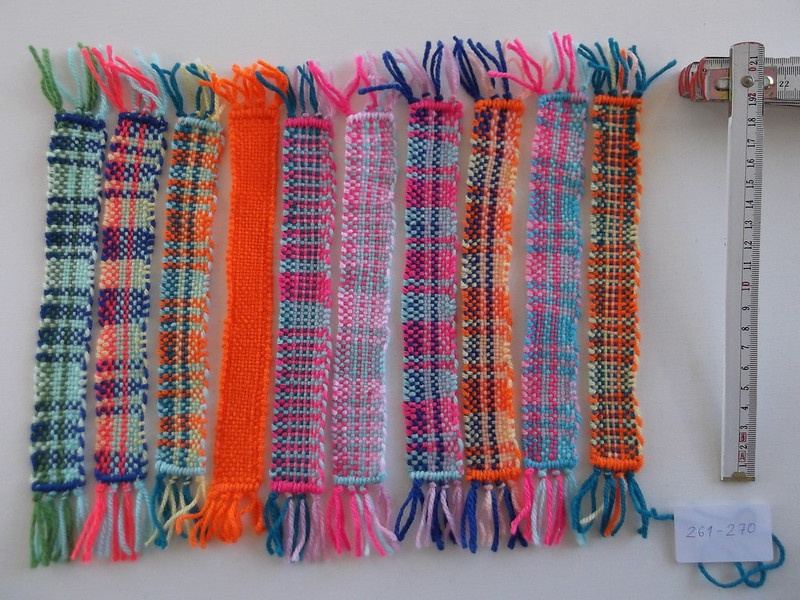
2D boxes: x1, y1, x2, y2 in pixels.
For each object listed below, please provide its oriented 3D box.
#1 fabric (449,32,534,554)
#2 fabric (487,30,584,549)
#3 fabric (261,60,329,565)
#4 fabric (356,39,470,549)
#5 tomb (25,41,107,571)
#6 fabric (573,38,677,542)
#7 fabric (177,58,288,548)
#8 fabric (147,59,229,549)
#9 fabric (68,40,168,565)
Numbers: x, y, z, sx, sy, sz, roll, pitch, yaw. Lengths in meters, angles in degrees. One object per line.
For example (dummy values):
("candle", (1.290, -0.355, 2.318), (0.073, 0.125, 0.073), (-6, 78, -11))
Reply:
("fabric", (0.212, -0.011, 2.700), (0.230, 1.282, 0.254), (0, -3, -1))
("fabric", (0.373, -0.020, 2.830), (0.262, 1.366, 0.237), (0, -2, -1))
("fabric", (-0.229, 0.048, 2.694), (0.233, 1.216, 0.260), (-1, -3, -2))
("fabric", (0.055, -0.024, 2.734), (0.283, 1.331, 0.246), (0, -2, -2))
("tomb", (-0.864, 0.016, 2.810), (0.184, 1.431, 0.261), (1, -3, -1))
("fabric", (0.564, -0.034, 2.731), (0.342, 1.253, 0.255), (-1, -2, -2))
("fabric", (-0.410, 0.012, 2.587), (0.261, 1.350, 0.263), (1, -1, -5))
("fabric", (-0.566, 0.013, 2.707), (0.203, 1.256, 0.181), (0, -3, -3))
("fabric", (-0.752, 0.054, 2.701), (0.245, 1.342, 0.209), (0, -2, -7))
